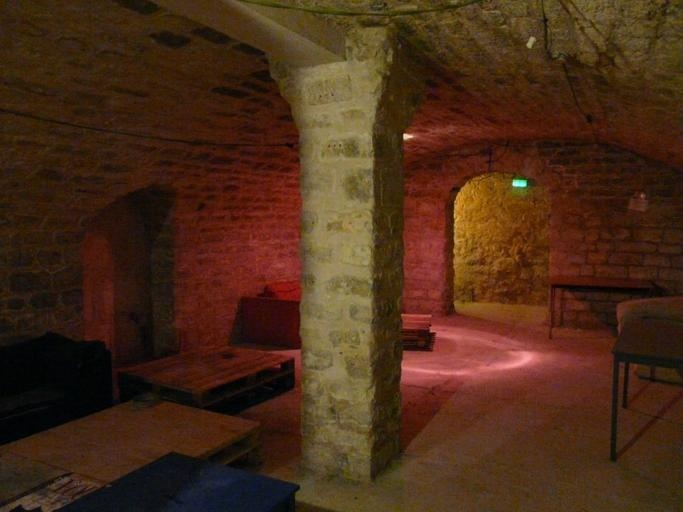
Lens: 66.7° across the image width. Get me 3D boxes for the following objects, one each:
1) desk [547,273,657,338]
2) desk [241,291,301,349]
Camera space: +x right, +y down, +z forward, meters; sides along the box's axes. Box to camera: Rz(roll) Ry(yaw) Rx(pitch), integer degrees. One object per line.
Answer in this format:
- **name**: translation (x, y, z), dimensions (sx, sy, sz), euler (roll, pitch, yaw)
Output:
- **desk**: translation (3.441, 0.613, 6.948), dimensions (1.275, 0.553, 0.639), euler (-5, -10, 17)
- **desk**: translation (-1.097, 0.884, 7.633), dimensions (1.048, 0.408, 0.818), euler (-2, 3, -13)
